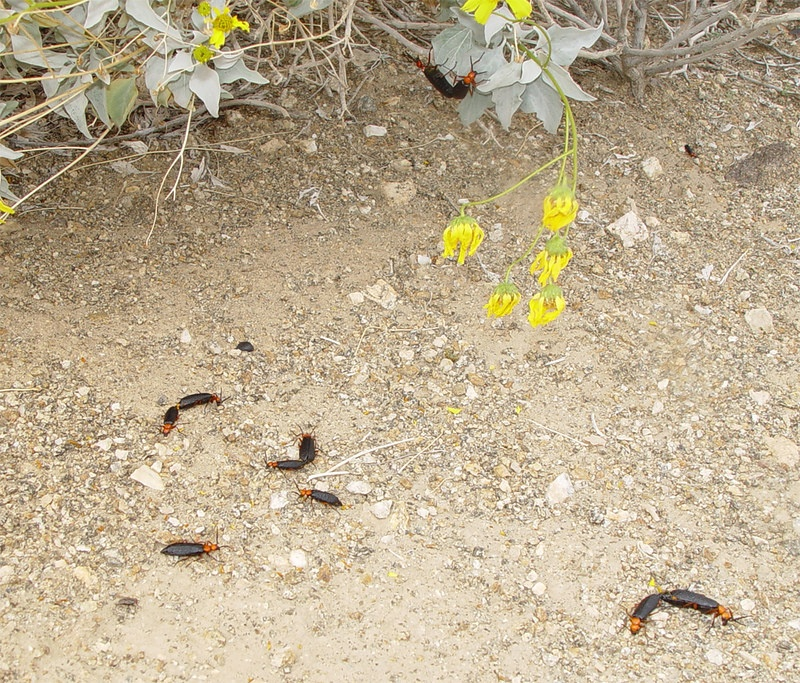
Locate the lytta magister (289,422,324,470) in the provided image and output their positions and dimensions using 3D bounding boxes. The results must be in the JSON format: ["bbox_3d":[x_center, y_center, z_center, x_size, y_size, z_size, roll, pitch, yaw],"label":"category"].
[{"bbox_3d":[-0.410,0.465,3.423,0.118,0.045,0.146,7,61,-7],"label":"lytta magister"}]

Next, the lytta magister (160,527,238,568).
[{"bbox_3d":[-0.823,0.832,3.150,0.204,0.040,0.113,-2,55,-13],"label":"lytta magister"}]

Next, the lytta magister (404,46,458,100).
[{"bbox_3d":[0.165,-1.374,4.072,0.293,0.227,0.068,40,86,19],"label":"lytta magister"}]

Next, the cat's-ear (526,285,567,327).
[{"bbox_3d":[0.549,-0.134,2.972,0.128,0.064,0.165,37,106,1],"label":"cat's-ear"}]

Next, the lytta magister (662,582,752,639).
[{"bbox_3d":[1.144,1.030,3.039,0.202,0.149,0.054,26,92,1],"label":"lytta magister"}]

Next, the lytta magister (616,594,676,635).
[{"bbox_3d":[0.948,1.056,3.049,0.164,0.048,0.118,-47,61,-4],"label":"lytta magister"}]

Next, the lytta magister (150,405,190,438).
[{"bbox_3d":[-1.011,0.356,3.451,0.125,0.041,0.132,5,87,-16],"label":"lytta magister"}]

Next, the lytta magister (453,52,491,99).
[{"bbox_3d":[0.333,-1.241,3.685,0.104,0.145,0.040,28,68,-8],"label":"lytta magister"}]

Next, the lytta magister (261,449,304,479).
[{"bbox_3d":[-0.506,0.532,3.379,0.156,0.046,0.116,-1,37,-1],"label":"lytta magister"}]

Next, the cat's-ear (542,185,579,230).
[{"bbox_3d":[0.554,-0.453,2.753,0.113,0.084,0.173,14,86,4],"label":"cat's-ear"}]

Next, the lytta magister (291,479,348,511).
[{"bbox_3d":[-0.333,0.637,3.296,0.130,0.038,0.094,13,26,0],"label":"lytta magister"}]
